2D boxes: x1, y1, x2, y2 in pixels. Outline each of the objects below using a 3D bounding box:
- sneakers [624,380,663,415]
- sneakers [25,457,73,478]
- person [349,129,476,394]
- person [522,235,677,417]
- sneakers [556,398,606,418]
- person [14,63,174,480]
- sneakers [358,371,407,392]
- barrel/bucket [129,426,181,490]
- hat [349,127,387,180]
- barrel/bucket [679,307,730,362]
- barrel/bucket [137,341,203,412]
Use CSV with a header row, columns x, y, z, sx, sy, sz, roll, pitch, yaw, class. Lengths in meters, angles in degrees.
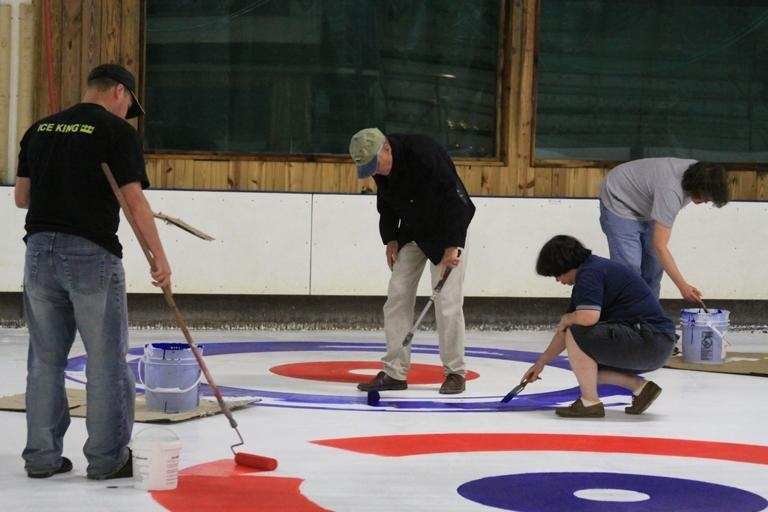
x,y,z,sx,sy,sz,roll,pitch,yaw,class
1.836,1.005,10.981,0.177,0.345,0.123,33,35,-9,sneakers
-2.129,1.357,9.999,0.113,0.112,0.311,8,3,37,sneakers
0.203,0.037,11.525,0.897,1.930,0.586,2,7,2,person
1.518,0.498,10.926,1.048,1.265,0.279,2,7,4,person
1.390,1.080,10.976,0.351,0.116,0.127,2,-4,4,sneakers
-1.894,0.093,10.008,0.914,2.631,0.587,0,7,-12,person
-0.020,0.928,11.597,0.408,0.143,0.130,2,-5,-5,sneakers
-1.454,1.279,9.973,0.362,0.354,0.370,1,-1,0,barrel/bucket
-0.109,-0.741,11.370,0.271,0.343,0.226,-6,-28,35,hat
2.575,0.647,12.470,0.448,0.372,0.420,0,2,0,barrel/bucket
-1.468,0.823,10.937,0.577,0.438,0.481,2,5,-3,barrel/bucket
